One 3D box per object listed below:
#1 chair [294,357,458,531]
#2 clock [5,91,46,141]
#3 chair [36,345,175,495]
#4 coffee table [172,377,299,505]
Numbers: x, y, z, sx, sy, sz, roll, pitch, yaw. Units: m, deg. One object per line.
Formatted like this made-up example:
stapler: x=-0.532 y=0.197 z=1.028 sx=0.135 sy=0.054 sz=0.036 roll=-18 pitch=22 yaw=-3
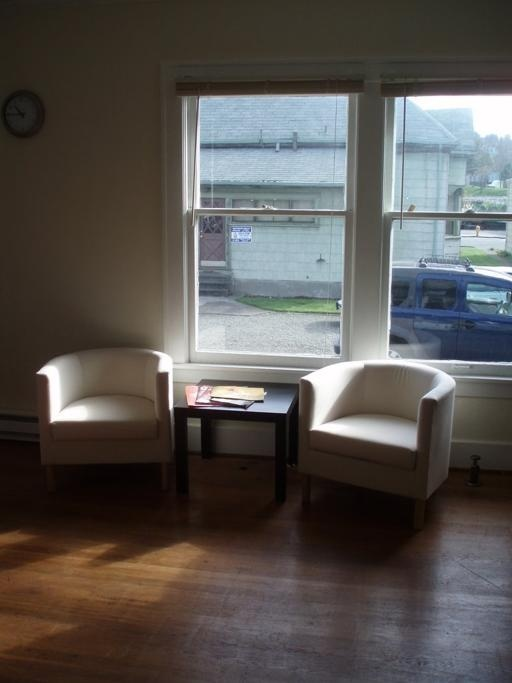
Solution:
chair: x=0.595 y=0.364 z=2.986 sx=0.727 sy=0.803 sz=0.717 roll=3 pitch=5 yaw=27
clock: x=-1.384 y=-1.335 z=3.487 sx=0.239 sy=0.271 sz=0.054 roll=8 pitch=14 yaw=13
chair: x=-0.781 y=0.401 z=3.182 sx=0.644 sy=0.638 sz=0.600 roll=-1 pitch=8 yaw=-8
coffee table: x=-0.083 y=0.508 z=3.204 sx=0.601 sy=0.510 sz=0.680 roll=2 pitch=9 yaw=11
